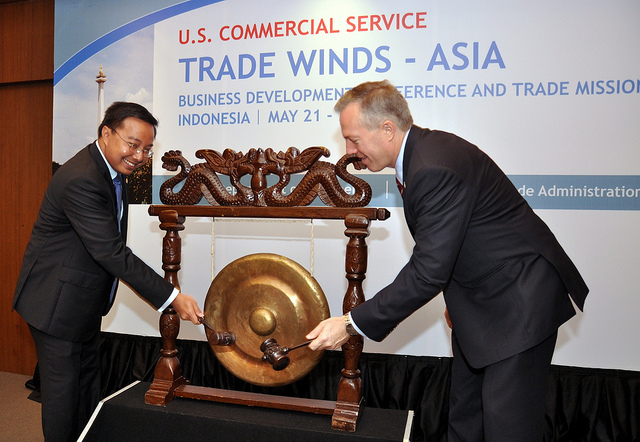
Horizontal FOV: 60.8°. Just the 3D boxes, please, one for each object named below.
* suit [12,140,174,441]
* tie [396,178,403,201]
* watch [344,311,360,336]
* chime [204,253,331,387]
[{"bbox_3d":[-1.382,0.428,3.228,0.806,1.783,0.306,2,3,-17],"label":"suit"},{"bbox_3d":[0.433,-0.176,2.940,0.019,0.134,0.032,-8,4,-11],"label":"tie"},{"bbox_3d":[0.154,0.551,2.833,0.022,0.096,0.086,-10,24,-15],"label":"watch"},{"bbox_3d":[-0.295,0.615,3.353,0.862,1.051,0.134,1,-3,17],"label":"chime"}]
